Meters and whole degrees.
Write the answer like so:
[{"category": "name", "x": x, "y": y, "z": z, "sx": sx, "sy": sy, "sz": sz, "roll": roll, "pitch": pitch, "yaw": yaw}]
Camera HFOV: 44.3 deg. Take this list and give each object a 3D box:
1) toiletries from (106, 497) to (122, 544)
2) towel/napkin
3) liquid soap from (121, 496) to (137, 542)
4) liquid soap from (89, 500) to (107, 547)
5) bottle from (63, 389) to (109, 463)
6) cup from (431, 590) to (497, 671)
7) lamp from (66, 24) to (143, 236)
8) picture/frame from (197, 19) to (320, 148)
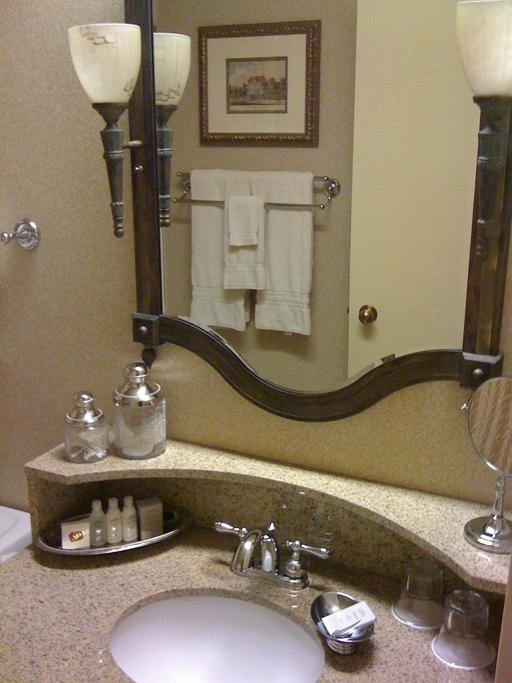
[{"category": "toiletries", "x": -0.300, "y": 0.371, "z": 1.320, "sx": 0.032, "sy": 0.091, "sz": 0.059, "roll": -1, "pitch": 15, "yaw": -6}, {"category": "towel/napkin", "x": -0.002, "y": -0.180, "z": 1.170, "sx": 0.296, "sy": 0.343, "sz": 0.074, "roll": 5, "pitch": 17, "yaw": 19}, {"category": "liquid soap", "x": -0.268, "y": 0.370, "z": 1.321, "sx": 0.033, "sy": 0.094, "sz": 0.051, "roll": -3, "pitch": 16, "yaw": -13}, {"category": "liquid soap", "x": -0.332, "y": 0.371, "z": 1.312, "sx": 0.036, "sy": 0.095, "sz": 0.067, "roll": -4, "pitch": 16, "yaw": -14}, {"category": "bottle", "x": -0.368, "y": 0.178, "z": 1.326, "sx": 0.098, "sy": 0.144, "sz": 0.068, "roll": -1, "pitch": 15, "yaw": -5}, {"category": "cup", "x": 0.346, "y": 0.477, "z": 1.072, "sx": 0.114, "sy": 0.105, "sz": 0.112, "roll": 0, "pitch": 20, "yaw": 0}, {"category": "lamp", "x": -0.265, "y": -0.373, "z": 1.141, "sx": 0.120, "sy": 0.364, "sz": 0.071, "roll": -4, "pitch": 16, "yaw": -15}, {"category": "picture/frame", "x": 0.012, "y": -0.454, "z": 1.091, "sx": 0.238, "sy": 0.197, "sz": 0.017, "roll": 6, "pitch": 19, "yaw": 22}]
